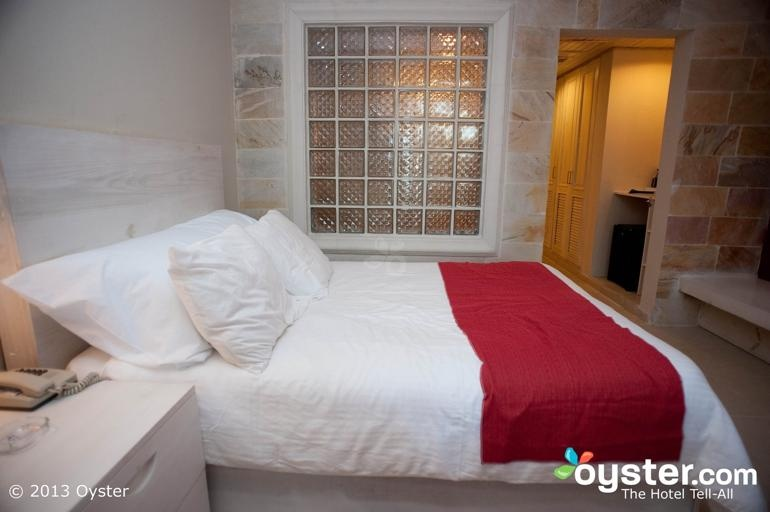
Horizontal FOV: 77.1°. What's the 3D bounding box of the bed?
[{"bbox_3d":[0.091,0.671,2.401,1.791,0.404,1.572,1,10,0],"label":"bed"}]
